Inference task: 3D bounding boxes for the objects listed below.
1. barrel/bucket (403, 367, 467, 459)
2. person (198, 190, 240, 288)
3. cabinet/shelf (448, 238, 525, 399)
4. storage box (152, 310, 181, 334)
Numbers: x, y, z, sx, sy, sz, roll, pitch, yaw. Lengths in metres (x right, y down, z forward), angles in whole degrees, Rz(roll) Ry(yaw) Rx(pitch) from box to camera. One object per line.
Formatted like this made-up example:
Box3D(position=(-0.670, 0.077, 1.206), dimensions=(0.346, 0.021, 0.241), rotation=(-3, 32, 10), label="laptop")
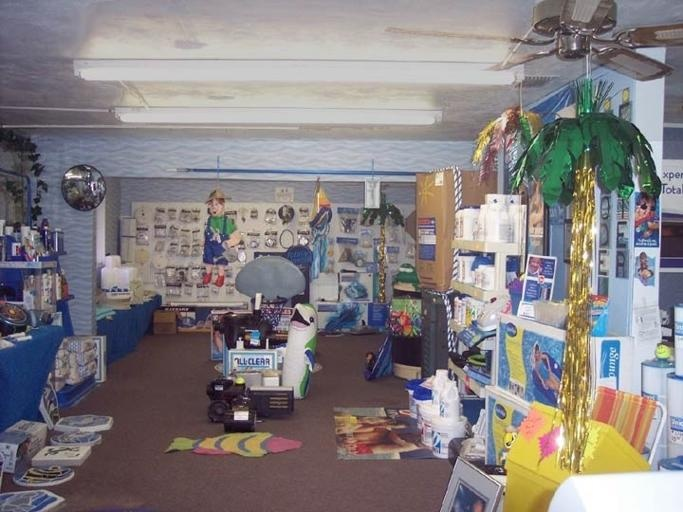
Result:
Box3D(position=(0.789, 1.591, 6.601), dimensions=(0.470, 0.791, 0.795), rotation=(-1, -5, -7), label="barrel/bucket")
Box3D(position=(-1.598, -0.245, 8.835), dimensions=(0.470, 1.286, 0.892), rotation=(-1, 6, -12), label="person")
Box3D(position=(1.513, 0.568, 7.073), dimensions=(0.492, 1.432, 1.440), rotation=(-1, 5, -10), label="cabinet/shelf")
Box3D(position=(-3.102, 1.185, 11.822), dimensions=(0.493, 0.518, 0.363), rotation=(2, 6, -4), label="storage box")
